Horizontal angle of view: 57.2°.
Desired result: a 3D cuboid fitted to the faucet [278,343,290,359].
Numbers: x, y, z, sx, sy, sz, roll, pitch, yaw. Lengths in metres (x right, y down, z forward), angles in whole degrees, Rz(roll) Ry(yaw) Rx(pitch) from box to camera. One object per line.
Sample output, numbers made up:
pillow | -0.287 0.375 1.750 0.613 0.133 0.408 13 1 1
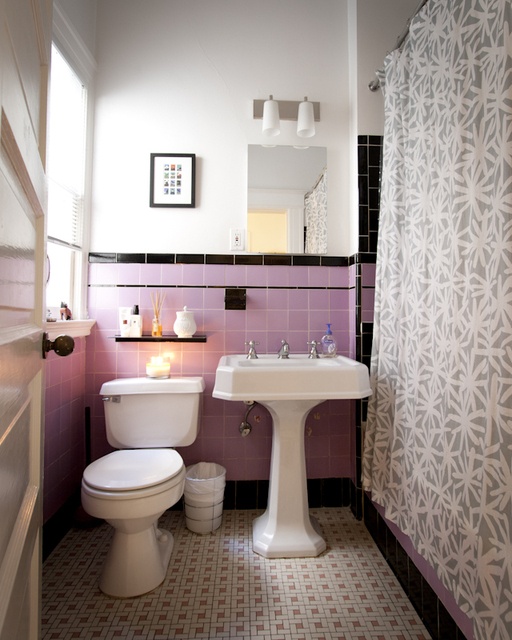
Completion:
faucet | 0.133 0.153 2.266 0.043 0.110 0.077 -1 5 -10

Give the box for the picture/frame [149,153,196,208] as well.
picture/frame | -0.421 -0.693 2.365 0.215 0.360 0.016 0 -28 -10

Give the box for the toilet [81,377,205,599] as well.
toilet | -0.469 0.649 1.906 0.303 0.750 0.687 0 0 2

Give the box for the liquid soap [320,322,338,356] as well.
liquid soap | 0.355 0.100 2.324 0.079 0.147 0.184 1 4 9

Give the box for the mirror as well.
mirror | 0.137 -0.597 2.388 0.361 0.744 0.026 0 -1 -6

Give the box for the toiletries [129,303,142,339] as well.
toiletries | -0.589 0.009 2.278 0.060 0.148 0.154 0 4 -11

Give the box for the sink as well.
sink | 0.132 0.252 1.978 0.615 0.169 0.439 0 4 -4

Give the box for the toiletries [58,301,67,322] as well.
toiletries | -0.859 -0.032 2.085 0.021 0.037 0.078 3 20 -16

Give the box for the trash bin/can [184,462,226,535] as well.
trash bin/can | -0.226 0.807 2.152 0.158 0.290 0.217 1 -1 -2

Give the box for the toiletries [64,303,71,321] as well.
toiletries | -0.856 -0.031 2.126 0.044 0.077 0.149 0 5 -25
